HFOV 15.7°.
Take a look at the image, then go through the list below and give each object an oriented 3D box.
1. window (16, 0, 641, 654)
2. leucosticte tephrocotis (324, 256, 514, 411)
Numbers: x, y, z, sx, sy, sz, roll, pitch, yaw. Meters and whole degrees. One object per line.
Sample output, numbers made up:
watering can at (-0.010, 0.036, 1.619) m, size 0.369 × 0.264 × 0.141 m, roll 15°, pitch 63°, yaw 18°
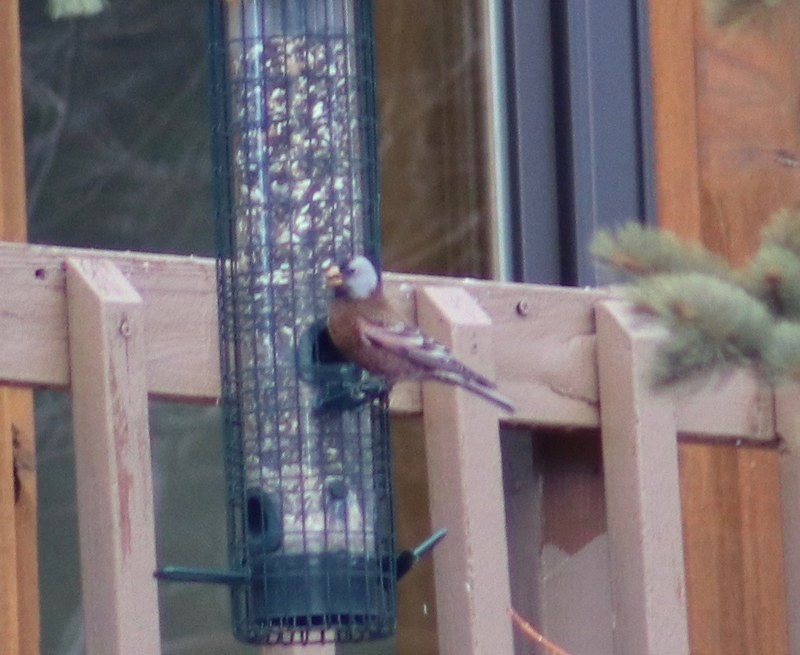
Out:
window at (-0.163, 0.201, 6.756) m, size 1.069 × 1.753 × 1.531 m, roll -1°, pitch 3°, yaw -27°
leucosticte tephrocotis at (0.052, 0.040, 5.977) m, size 0.384 × 0.297 × 0.204 m, roll 9°, pitch -11°, yaw 3°
